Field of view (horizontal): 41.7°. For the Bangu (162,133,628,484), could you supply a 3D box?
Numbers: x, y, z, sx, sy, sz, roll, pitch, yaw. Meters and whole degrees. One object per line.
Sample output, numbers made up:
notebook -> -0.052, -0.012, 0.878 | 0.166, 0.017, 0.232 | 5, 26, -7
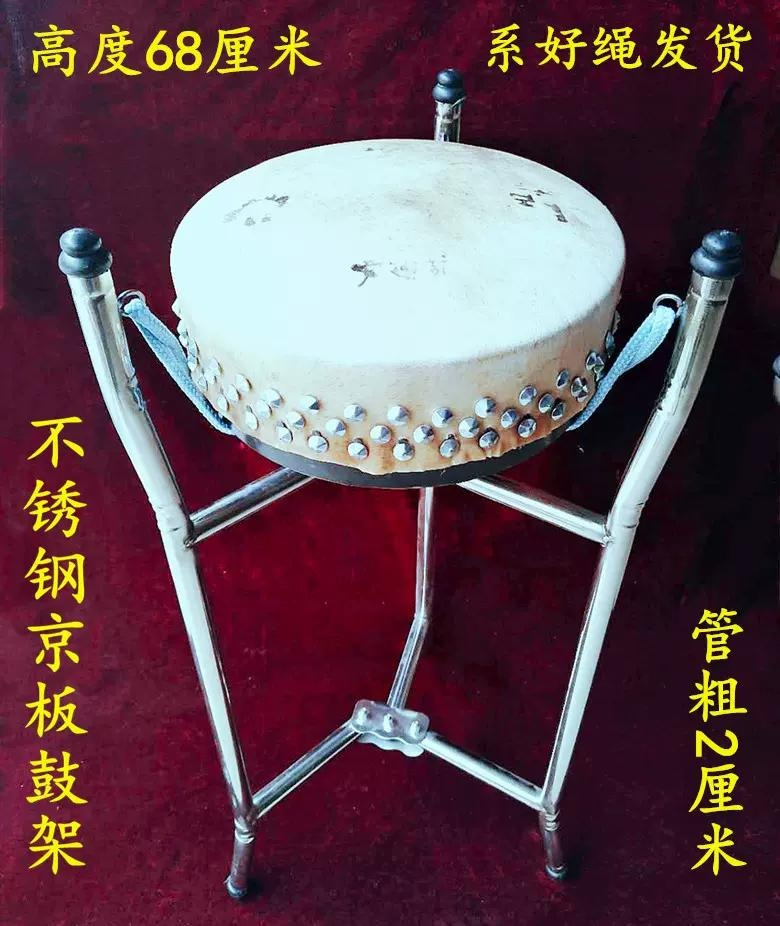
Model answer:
Bangu -> 0.004, -0.138, 0.810 | 0.343, 0.143, 0.316 | 6, 43, 6

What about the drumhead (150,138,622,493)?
drumhead -> 0.008, -0.148, 0.815 | 0.354, 0.110, 0.332 | 24, 53, 22

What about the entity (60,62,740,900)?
entity -> 0.018, 0.114, 0.965 | 0.496, 0.601, 0.402 | 11, 30, 25
